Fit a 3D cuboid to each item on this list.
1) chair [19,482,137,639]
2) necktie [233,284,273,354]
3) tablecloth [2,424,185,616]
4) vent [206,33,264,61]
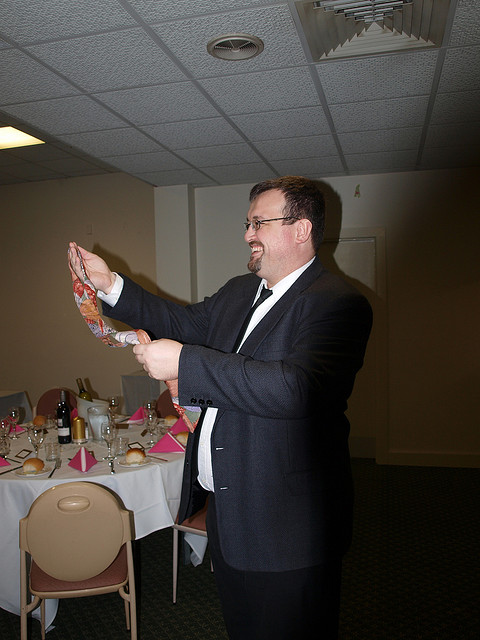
[{"bbox_3d":[-0.634,0.935,1.941,0.455,0.712,0.348,-1,1,-17],"label":"chair"},{"bbox_3d":[0.043,-0.015,1.276,0.064,0.201,0.020,23,-18,19],"label":"necktie"},{"bbox_3d":[-0.633,0.863,2.328,0.804,0.430,0.798,-1,1,-6],"label":"tablecloth"},{"bbox_3d":[-0.022,-1.249,2.275,0.268,0.024,0.230,0,0,21],"label":"vent"}]
